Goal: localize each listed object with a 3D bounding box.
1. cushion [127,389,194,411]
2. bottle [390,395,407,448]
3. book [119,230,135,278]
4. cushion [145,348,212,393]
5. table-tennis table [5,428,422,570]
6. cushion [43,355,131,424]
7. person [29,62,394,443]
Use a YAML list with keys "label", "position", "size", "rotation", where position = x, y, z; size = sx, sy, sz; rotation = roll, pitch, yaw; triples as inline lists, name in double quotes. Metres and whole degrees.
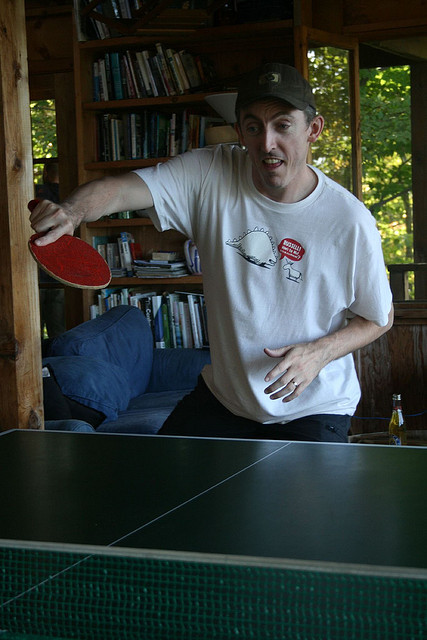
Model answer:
- label: "cushion"
  position: [-0.297, 0.429, 2.976]
  size: [0.268, 0.061, 0.278]
  rotation: [-4, 9, 20]
- label: "bottle"
  position: [0.910, 0.492, 2.771]
  size: [0.074, 0.305, 0.438]
  rotation: [-1, 3, 18]
- label: "book"
  position: [-0.665, -0.574, 4.484]
  size: [0.072, 0.341, 0.353]
  rotation: [-12, -32, -13]
- label: "cushion"
  position: [-0.236, 0.320, 3.753]
  size: [0.393, 0.226, 0.383]
  rotation: [-4, 38, 9]
- label: "table-tennis table"
  position: [-0.039, 0.286, 1.000]
  size: [0.819, 0.023, 0.597]
  rotation: [0, 3, 13]
- label: "cushion"
  position: [-0.533, 0.311, 2.703]
  size: [0.431, 0.288, 0.467]
  rotation: [4, 5, 32]
- label: "person"
  position: [0.135, -0.134, 1.733]
  size: [0.766, 1.428, 0.637]
  rotation: [-1, 4, 11]
